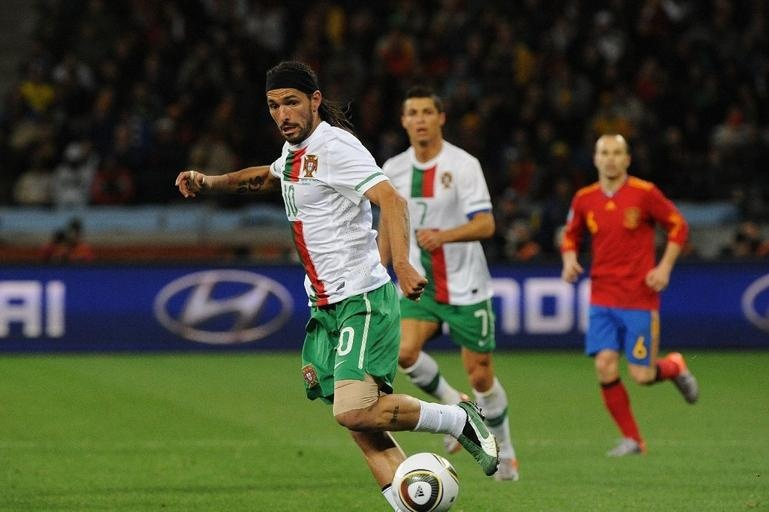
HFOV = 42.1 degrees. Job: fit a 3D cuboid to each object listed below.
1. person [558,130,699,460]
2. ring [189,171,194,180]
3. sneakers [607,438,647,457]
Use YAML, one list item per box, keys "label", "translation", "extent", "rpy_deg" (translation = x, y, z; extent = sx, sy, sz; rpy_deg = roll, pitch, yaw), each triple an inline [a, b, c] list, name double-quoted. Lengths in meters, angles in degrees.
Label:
- label: "person"
  translation: [2.362, 0.398, 9.696]
  extent: [1.274, 3.103, 0.874]
  rpy_deg: [1, 11, 10]
- label: "ring"
  translation: [-1.722, -0.721, 8.970]
  extent: [0.043, 0.070, 0.018]
  rpy_deg: [5, -12, -8]
- label: "sneakers"
  translation: [2.331, 1.861, 9.615]
  extent: [0.317, 0.135, 0.176]
  rpy_deg: [-6, -5, 11]
